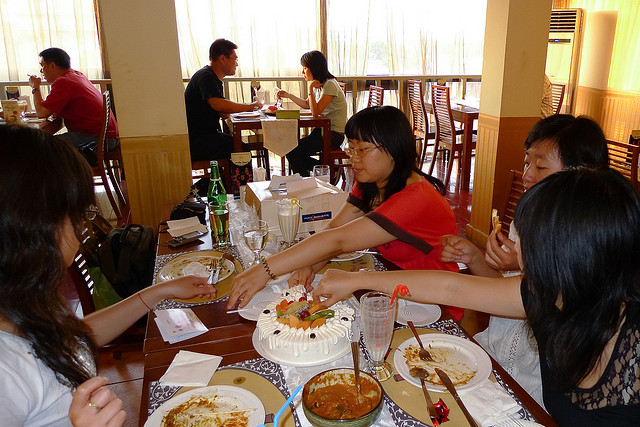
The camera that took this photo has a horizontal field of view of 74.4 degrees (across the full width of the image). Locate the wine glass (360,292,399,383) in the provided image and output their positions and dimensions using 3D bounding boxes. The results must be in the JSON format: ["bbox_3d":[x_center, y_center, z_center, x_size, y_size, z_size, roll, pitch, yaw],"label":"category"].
[{"bbox_3d":[0.187,0.405,1.362,0.111,0.220,0.098,-1,14,5],"label":"wine glass"}]

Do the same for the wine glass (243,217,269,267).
[{"bbox_3d":[-0.288,0.121,1.913,0.125,0.224,0.142,-4,2,-15],"label":"wine glass"}]

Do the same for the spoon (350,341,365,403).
[{"bbox_3d":[0.110,0.470,1.258,0.027,0.117,0.013,-7,-24,8],"label":"spoon"}]

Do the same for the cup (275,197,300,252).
[{"bbox_3d":[-0.146,0.059,2.005,0.143,0.228,0.153,1,14,0],"label":"cup"}]

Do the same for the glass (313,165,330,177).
[{"bbox_3d":[0.013,-0.288,2.871,0.097,0.058,0.200,-6,19,-6],"label":"glass"}]

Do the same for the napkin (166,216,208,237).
[{"bbox_3d":[-0.715,0.061,2.254,0.126,0.031,0.125,-15,43,-29],"label":"napkin"}]

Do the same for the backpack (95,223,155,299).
[{"bbox_3d":[-1.201,0.247,2.368,0.272,0.380,0.285,-3,4,35],"label":"backpack"}]

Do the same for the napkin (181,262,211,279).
[{"bbox_3d":[-0.544,0.236,1.845,0.068,0.017,0.068,21,19,27],"label":"napkin"}]

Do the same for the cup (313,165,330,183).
[{"bbox_3d":[0.013,-0.277,2.831,0.108,0.123,0.126,-1,9,8],"label":"cup"}]

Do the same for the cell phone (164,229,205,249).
[{"bbox_3d":[-0.673,0.105,2.110,0.132,0.027,0.080,-22,25,-20],"label":"cell phone"}]

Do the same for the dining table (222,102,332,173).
[{"bbox_3d":[-0.453,-1.128,5.217,1.125,0.855,1.564,-2,39,-2],"label":"dining table"}]
